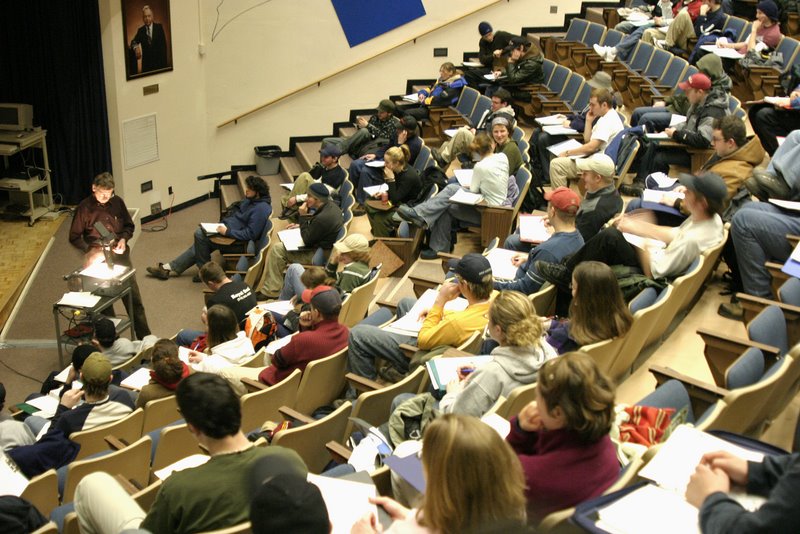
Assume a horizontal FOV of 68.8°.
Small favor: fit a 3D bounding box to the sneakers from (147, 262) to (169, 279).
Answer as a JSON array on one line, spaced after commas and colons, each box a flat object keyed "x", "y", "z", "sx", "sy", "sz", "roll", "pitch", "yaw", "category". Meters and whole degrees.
[{"x": -3.765, "y": 0.072, "z": 9.101, "sx": 0.444, "sy": 0.229, "sz": 0.190, "roll": -1, "pitch": 14, "yaw": 9, "category": "sneakers"}]

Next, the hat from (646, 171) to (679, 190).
[{"x": 2.679, "y": -0.855, "z": 5.941, "sx": 0.268, "sy": 0.133, "sz": 0.285, "roll": -4, "pitch": 18, "yaw": -21, "category": "hat"}]

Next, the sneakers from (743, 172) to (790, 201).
[{"x": 3.204, "y": -0.695, "z": 5.072, "sx": 0.251, "sy": 0.103, "sz": 0.236, "roll": 11, "pitch": 31, "yaw": 22, "category": "sneakers"}]

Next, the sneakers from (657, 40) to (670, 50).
[{"x": 4.307, "y": -3.645, "z": 9.596, "sx": 0.190, "sy": 0.167, "sz": 0.255, "roll": 0, "pitch": 14, "yaw": 10, "category": "sneakers"}]

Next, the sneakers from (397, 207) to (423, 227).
[{"x": 0.124, "y": -0.590, "z": 6.660, "sx": 0.237, "sy": 0.205, "sz": 0.102, "roll": 26, "pitch": -5, "yaw": 25, "category": "sneakers"}]

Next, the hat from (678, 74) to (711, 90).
[{"x": 3.417, "y": -2.111, "z": 6.683, "sx": 0.270, "sy": 0.185, "sz": 0.459, "roll": 5, "pitch": 17, "yaw": 27, "category": "hat"}]

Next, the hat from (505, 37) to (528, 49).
[{"x": 1.947, "y": -3.666, "z": 9.557, "sx": 0.214, "sy": 0.222, "sz": 0.398, "roll": -3, "pitch": 14, "yaw": -2, "category": "hat"}]

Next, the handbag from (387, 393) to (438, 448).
[{"x": 0.060, "y": 0.983, "z": 3.644, "sx": 0.159, "sy": 0.224, "sz": 0.148, "roll": -21, "pitch": -1, "yaw": 16, "category": "handbag"}]

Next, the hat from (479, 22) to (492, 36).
[{"x": 1.607, "y": -4.404, "z": 10.816, "sx": 0.220, "sy": 0.270, "sz": 0.536, "roll": 0, "pitch": 15, "yaw": 12, "category": "hat"}]

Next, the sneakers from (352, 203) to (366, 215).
[{"x": -0.592, "y": -0.836, "z": 8.469, "sx": 0.180, "sy": 0.169, "sz": 0.388, "roll": -3, "pitch": 15, "yaw": -3, "category": "sneakers"}]

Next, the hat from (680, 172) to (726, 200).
[{"x": 2.299, "y": -0.609, "z": 4.446, "sx": 0.278, "sy": 0.115, "sz": 0.196, "roll": 31, "pitch": 39, "yaw": 9, "category": "hat"}]

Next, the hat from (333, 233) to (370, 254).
[{"x": -0.518, "y": -0.257, "z": 6.379, "sx": 0.271, "sy": 0.154, "sz": 0.213, "roll": 6, "pitch": 13, "yaw": 0, "category": "hat"}]

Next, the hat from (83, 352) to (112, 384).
[{"x": -2.341, "y": 0.759, "z": 4.550, "sx": 0.164, "sy": 0.133, "sz": 0.264, "roll": 7, "pitch": 36, "yaw": -23, "category": "hat"}]

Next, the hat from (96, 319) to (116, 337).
[{"x": -2.877, "y": 0.602, "z": 5.719, "sx": 0.160, "sy": 0.190, "sz": 0.163, "roll": 9, "pitch": 18, "yaw": 40, "category": "hat"}]

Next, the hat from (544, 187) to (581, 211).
[{"x": 1.323, "y": -0.575, "z": 4.773, "sx": 0.155, "sy": 0.147, "sz": 0.263, "roll": -5, "pitch": 36, "yaw": -15, "category": "hat"}]

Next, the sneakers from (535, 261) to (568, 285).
[{"x": 1.181, "y": 0.045, "z": 4.555, "sx": 0.249, "sy": 0.182, "sz": 0.130, "roll": 3, "pitch": 14, "yaw": 23, "category": "sneakers"}]

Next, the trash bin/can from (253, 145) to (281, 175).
[{"x": -2.688, "y": -2.186, "z": 11.980, "sx": 0.593, "sy": 0.548, "sz": 0.545, "roll": -3, "pitch": 20, "yaw": -6, "category": "trash bin/can"}]

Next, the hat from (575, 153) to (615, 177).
[{"x": 1.798, "y": -0.918, "z": 5.391, "sx": 0.344, "sy": 0.187, "sz": 0.245, "roll": 21, "pitch": 28, "yaw": 11, "category": "hat"}]

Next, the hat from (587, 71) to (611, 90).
[{"x": 3.020, "y": -2.804, "z": 8.803, "sx": 0.331, "sy": 0.268, "sz": 0.629, "roll": 4, "pitch": 16, "yaw": 25, "category": "hat"}]

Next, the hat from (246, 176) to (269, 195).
[{"x": -2.013, "y": -1.193, "z": 8.249, "sx": 0.277, "sy": 0.146, "sz": 0.234, "roll": 49, "pitch": 16, "yaw": 30, "category": "hat"}]

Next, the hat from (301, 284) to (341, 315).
[{"x": -0.616, "y": 0.269, "z": 4.700, "sx": 0.213, "sy": 0.196, "sz": 0.313, "roll": -9, "pitch": 15, "yaw": -23, "category": "hat"}]

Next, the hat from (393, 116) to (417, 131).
[{"x": 0.125, "y": -2.013, "z": 8.215, "sx": 0.239, "sy": 0.191, "sz": 0.272, "roll": -5, "pitch": 14, "yaw": -7, "category": "hat"}]

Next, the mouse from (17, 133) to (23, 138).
[{"x": -6.256, "y": -2.167, "z": 9.624, "sx": 0.062, "sy": 0.030, "sz": 0.096, "roll": 0, "pitch": 19, "yaw": 3, "category": "mouse"}]

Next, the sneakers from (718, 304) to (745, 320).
[{"x": 2.653, "y": 0.353, "z": 4.679, "sx": 0.127, "sy": 0.049, "sz": 0.102, "roll": 15, "pitch": 33, "yaw": 38, "category": "sneakers"}]

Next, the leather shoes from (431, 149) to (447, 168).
[{"x": 0.543, "y": -1.499, "z": 8.105, "sx": 0.192, "sy": 0.246, "sz": 0.602, "roll": 1, "pitch": 15, "yaw": 16, "category": "leather shoes"}]

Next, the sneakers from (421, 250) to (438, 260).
[{"x": 0.338, "y": -0.140, "z": 6.801, "sx": 0.166, "sy": 0.072, "sz": 0.100, "roll": 4, "pitch": 57, "yaw": 3, "category": "sneakers"}]
